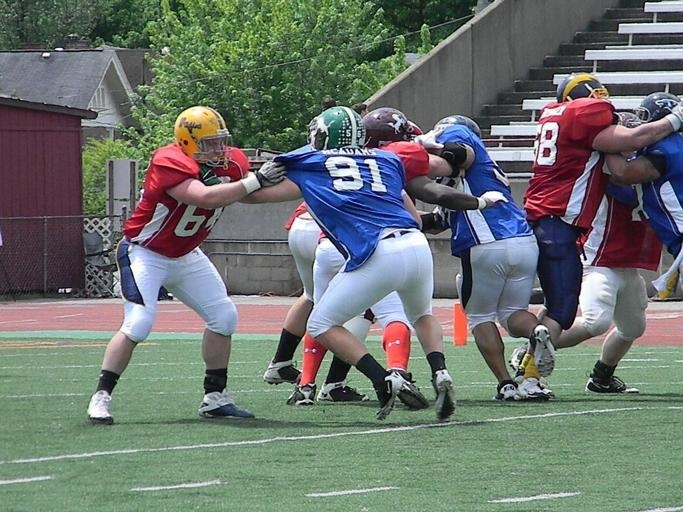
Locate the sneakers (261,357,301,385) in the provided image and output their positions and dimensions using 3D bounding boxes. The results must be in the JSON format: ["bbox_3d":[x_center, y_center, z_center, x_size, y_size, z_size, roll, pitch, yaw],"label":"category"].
[{"bbox_3d":[-0.530,0.949,9.006,0.434,0.204,0.137,-2,17,-5],"label":"sneakers"}]

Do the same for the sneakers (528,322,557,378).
[{"bbox_3d":[1.529,0.705,8.132,0.162,0.386,0.204,-7,8,14],"label":"sneakers"}]

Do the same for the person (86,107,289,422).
[{"bbox_3d":[-1.184,0.040,7.774,1.255,2.287,0.916,0,3,-12],"label":"person"}]

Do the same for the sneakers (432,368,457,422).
[{"bbox_3d":[0.700,0.943,7.403,0.142,0.337,0.179,-14,26,-17],"label":"sneakers"}]

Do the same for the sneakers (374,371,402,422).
[{"bbox_3d":[0.325,0.956,7.315,0.178,0.366,0.126,24,45,6],"label":"sneakers"}]

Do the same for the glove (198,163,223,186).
[{"bbox_3d":[-0.959,-0.582,7.811,0.178,0.118,0.073,27,-37,-12],"label":"glove"}]

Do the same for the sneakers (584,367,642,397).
[{"bbox_3d":[2.292,1.046,8.954,0.549,0.205,0.170,2,-4,3],"label":"sneakers"}]

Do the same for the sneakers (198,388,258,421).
[{"bbox_3d":[-0.791,1.096,7.917,0.511,0.214,0.158,1,-4,6],"label":"sneakers"}]

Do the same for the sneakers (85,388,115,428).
[{"bbox_3d":[-1.713,1.064,7.674,0.167,0.229,0.233,0,3,-12],"label":"sneakers"}]

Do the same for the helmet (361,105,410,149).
[{"bbox_3d":[0.330,-1.043,8.502,0.389,0.295,0.279,-29,27,-11],"label":"helmet"}]

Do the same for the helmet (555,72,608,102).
[{"bbox_3d":[1.922,-1.348,8.534,0.351,0.246,0.250,-21,9,0],"label":"helmet"}]

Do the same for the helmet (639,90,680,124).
[{"bbox_3d":[2.519,-1.180,8.462,0.305,0.211,0.234,1,4,22],"label":"helmet"}]

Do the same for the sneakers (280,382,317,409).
[{"bbox_3d":[-0.335,1.113,8.608,0.195,0.183,0.424,2,-2,-10],"label":"sneakers"}]

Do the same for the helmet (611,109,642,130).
[{"bbox_3d":[2.302,-1.127,8.708,0.268,0.123,0.199,7,3,18],"label":"helmet"}]

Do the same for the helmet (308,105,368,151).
[{"bbox_3d":[-0.041,-0.909,7.637,0.382,0.278,0.291,13,13,41],"label":"helmet"}]

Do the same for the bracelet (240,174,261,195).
[{"bbox_3d":[-0.628,-0.507,7.484,0.128,0.106,0.136,-5,-37,-32],"label":"bracelet"}]

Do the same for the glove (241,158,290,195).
[{"bbox_3d":[-0.520,-0.542,7.523,0.198,0.292,0.117,38,-18,8],"label":"glove"}]

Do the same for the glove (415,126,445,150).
[{"bbox_3d":[0.728,-0.901,8.280,0.195,0.049,0.190,-23,30,-29],"label":"glove"}]

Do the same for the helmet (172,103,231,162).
[{"bbox_3d":[-0.929,-0.886,7.904,0.485,0.367,0.345,10,12,26],"label":"helmet"}]
